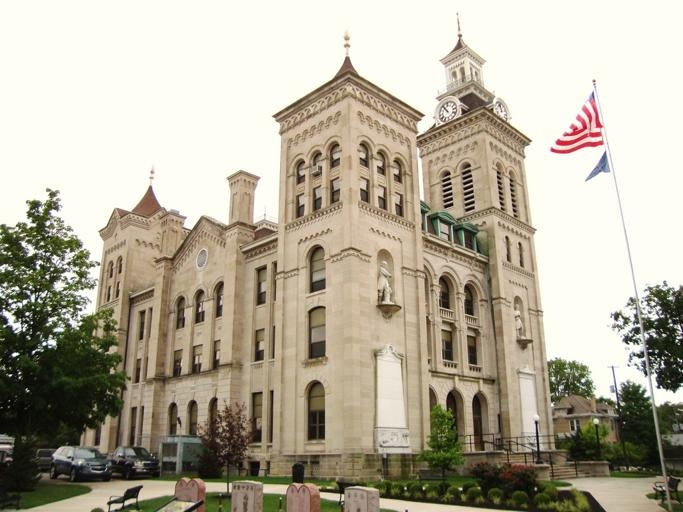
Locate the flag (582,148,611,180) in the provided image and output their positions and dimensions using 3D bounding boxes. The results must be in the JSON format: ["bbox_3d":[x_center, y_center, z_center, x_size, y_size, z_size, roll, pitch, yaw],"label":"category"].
[{"bbox_3d":[13.977,-5.065,30.203,0.898,1.612,1.159,-11,-26,23],"label":"flag"}]

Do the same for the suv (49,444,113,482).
[{"bbox_3d":[-15.911,12.727,33.972,4.875,2.062,1.885,-20,-31,36],"label":"suv"}]

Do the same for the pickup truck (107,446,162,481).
[{"bbox_3d":[-13.519,13.674,36.692,2.562,2.146,2.310,-19,-30,36],"label":"pickup truck"}]
